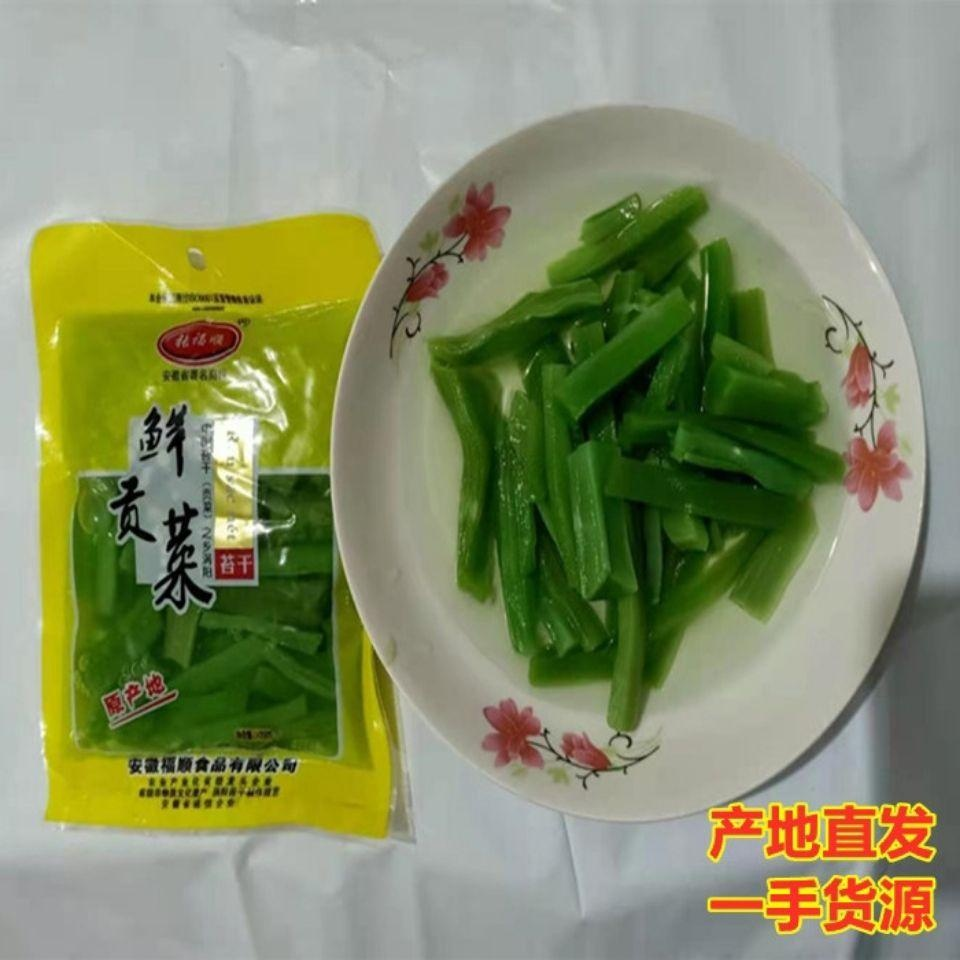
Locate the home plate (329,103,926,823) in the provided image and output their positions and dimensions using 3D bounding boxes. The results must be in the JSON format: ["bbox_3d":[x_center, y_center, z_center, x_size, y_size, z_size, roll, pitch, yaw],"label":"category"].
[{"bbox_3d":[0.218,-0.023,1.688,0.877,0.149,1.033,-10,86,-1],"label":"home plate"}]
